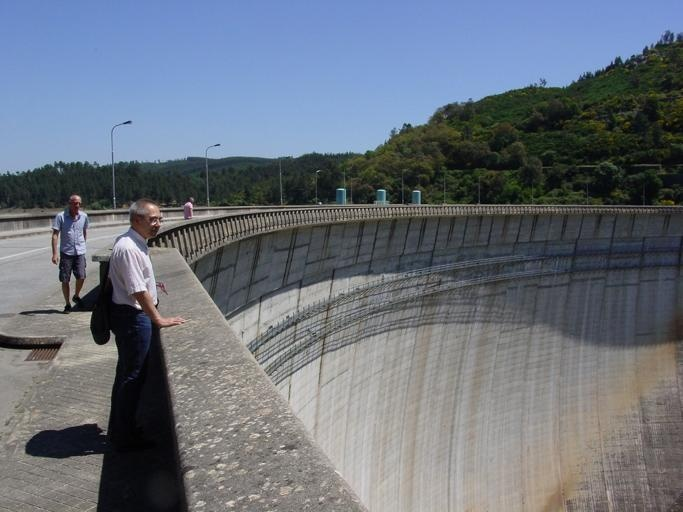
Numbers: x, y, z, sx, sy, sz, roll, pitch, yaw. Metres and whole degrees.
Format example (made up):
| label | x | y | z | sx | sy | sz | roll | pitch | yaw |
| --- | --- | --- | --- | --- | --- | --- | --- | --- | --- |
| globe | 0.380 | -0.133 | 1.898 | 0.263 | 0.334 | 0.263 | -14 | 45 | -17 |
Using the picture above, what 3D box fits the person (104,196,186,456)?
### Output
| label | x | y | z | sx | sy | sz | roll | pitch | yaw |
| --- | --- | --- | --- | --- | --- | --- | --- | --- | --- |
| person | -1.841 | 0.536 | 4.967 | 0.699 | 2.062 | 0.901 | -4 | 8 | -10 |
